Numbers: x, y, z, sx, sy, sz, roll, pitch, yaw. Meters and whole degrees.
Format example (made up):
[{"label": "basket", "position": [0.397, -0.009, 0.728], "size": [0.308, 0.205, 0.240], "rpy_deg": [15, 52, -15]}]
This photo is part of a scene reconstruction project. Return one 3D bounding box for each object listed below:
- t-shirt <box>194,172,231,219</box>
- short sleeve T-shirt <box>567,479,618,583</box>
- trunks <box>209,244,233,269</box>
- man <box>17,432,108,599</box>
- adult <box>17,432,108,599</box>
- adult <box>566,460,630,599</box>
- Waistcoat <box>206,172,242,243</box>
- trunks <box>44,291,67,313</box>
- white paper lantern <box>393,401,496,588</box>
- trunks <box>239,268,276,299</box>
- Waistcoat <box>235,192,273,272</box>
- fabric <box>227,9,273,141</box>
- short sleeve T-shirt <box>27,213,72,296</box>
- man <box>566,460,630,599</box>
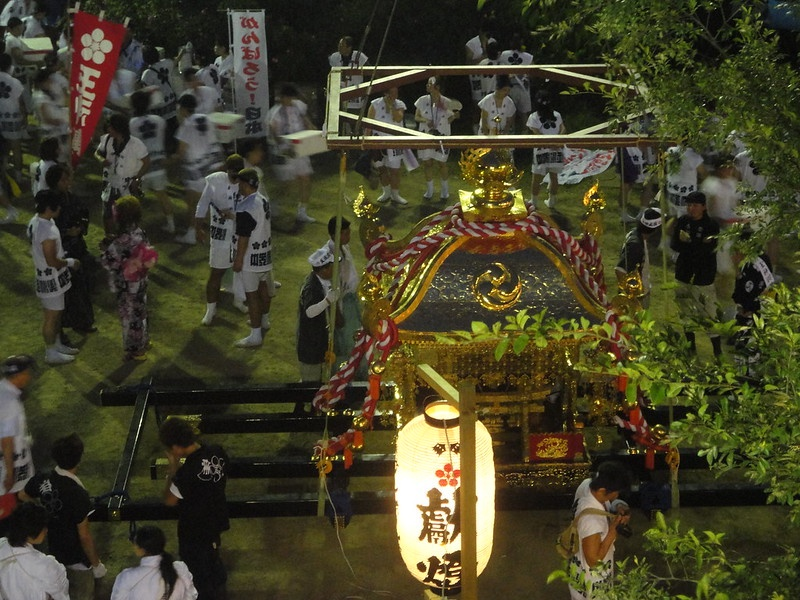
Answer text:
[{"label": "t-shirt", "position": [-2.197, -1.265, 12.587], "size": [0.686, 0.537, 0.233], "rpy_deg": [-7, 36, -18]}, {"label": "short sleeve T-shirt", "position": [1.413, 1.693, 7.830], "size": [0.311, 0.957, 0.371], "rpy_deg": [-11, 58, 9]}, {"label": "trunks", "position": [-2.107, -0.571, 12.452], "size": [0.282, 0.286, 0.274], "rpy_deg": [4, 31, 1]}, {"label": "man", "position": [-2.736, 1.794, 8.674], "size": [0.715, 1.765, 0.522], "rpy_deg": [23, 45, 6]}, {"label": "adult", "position": [-2.736, 1.794, 8.674], "size": [0.715, 1.765, 0.522], "rpy_deg": [23, 45, 6]}, {"label": "adult", "position": [1.463, 1.704, 7.857], "size": [0.368, 1.228, 0.478], "rpy_deg": [-10, 57, 8]}, {"label": "Waistcoat", "position": [-2.019, -1.072, 12.430], "size": [0.551, 0.887, 0.394], "rpy_deg": [-1, 6, -35]}, {"label": "trunks", "position": [-3.771, -0.001, 11.672], "size": [0.217, 0.197, 0.206], "rpy_deg": [-1, 15, -23]}, {"label": "white paper lantern", "position": [0.294, 1.344, 7.180], "size": [0.709, 1.467, 0.602], "rpy_deg": [6, 18, 0]}, {"label": "trunks", "position": [-1.625, -0.230, 12.136], "size": [0.249, 0.386, 0.431], "rpy_deg": [7, 23, 20]}, {"label": "Waistcoat", "position": [-1.618, -0.747, 11.750], "size": [0.364, 0.711, 0.637], "rpy_deg": [13, 32, 17]}, {"label": "fabric", "position": [-2.324, -3.551, 16.614], "size": [0.765, 2.247, 0.063], "rpy_deg": [-3, -1, 7]}, {"label": "short sleeve T-shirt", "position": [-3.758, -0.500, 11.530], "size": [0.392, 0.745, 0.747], "rpy_deg": [-12, 34, -29]}, {"label": "man", "position": [1.463, 1.704, 7.857], "size": [0.368, 1.228, 0.478], "rpy_deg": [-10, 57, 8]}]
